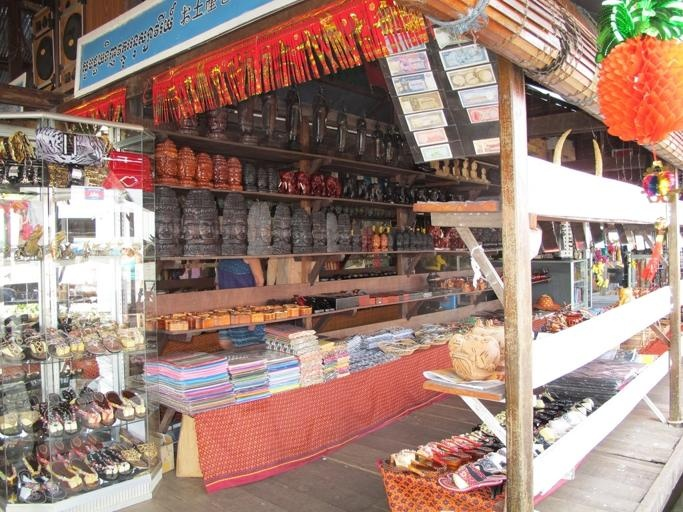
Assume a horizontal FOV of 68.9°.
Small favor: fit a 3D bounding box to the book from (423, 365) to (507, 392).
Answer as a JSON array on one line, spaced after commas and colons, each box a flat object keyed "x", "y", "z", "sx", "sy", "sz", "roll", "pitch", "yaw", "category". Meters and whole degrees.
[{"x": 0.593, "y": 0.579, "z": 2.359, "sx": 0.338, "sy": 0.058, "sz": 0.304, "roll": 1, "pitch": -3, "yaw": 5, "category": "book"}]
